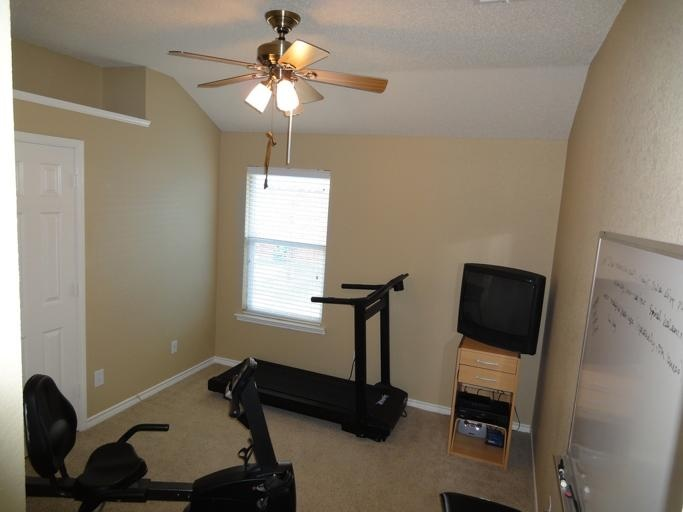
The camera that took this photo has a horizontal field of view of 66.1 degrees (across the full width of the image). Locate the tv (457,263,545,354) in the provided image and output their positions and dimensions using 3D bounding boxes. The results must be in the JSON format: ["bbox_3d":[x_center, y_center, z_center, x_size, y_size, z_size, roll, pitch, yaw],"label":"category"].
[{"bbox_3d":[1.278,0.415,4.269,0.183,0.630,0.686,-2,9,-43],"label":"tv"}]

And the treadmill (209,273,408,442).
[{"bbox_3d":[-0.291,0.770,4.798,1.666,1.391,0.793,8,15,17],"label":"treadmill"}]

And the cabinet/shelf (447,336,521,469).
[{"bbox_3d":[1.179,1.191,4.331,0.500,0.940,0.329,7,7,21],"label":"cabinet/shelf"}]
